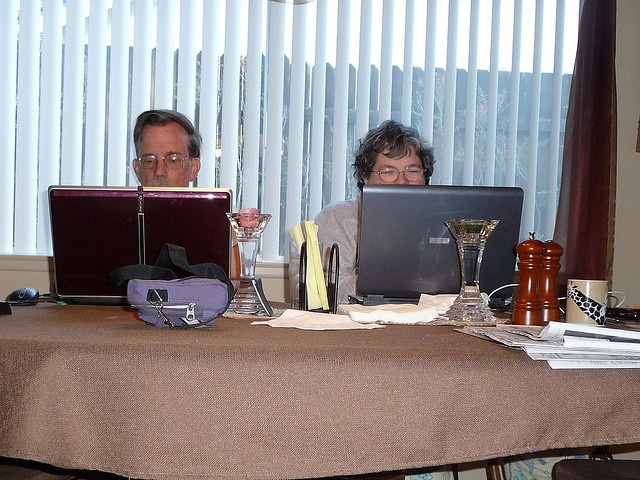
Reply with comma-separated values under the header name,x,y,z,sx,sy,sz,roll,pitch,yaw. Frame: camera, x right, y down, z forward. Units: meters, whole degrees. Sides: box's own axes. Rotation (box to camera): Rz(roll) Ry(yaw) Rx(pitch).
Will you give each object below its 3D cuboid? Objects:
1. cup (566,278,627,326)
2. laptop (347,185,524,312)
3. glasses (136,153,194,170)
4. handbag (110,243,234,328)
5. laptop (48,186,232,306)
name,x,y,z,sx,sy,sz,roll,pitch,yaw
cup,0.727,0.160,1.539,0.136,0.107,0.078,4,1,-26
laptop,0.337,-0.004,1.897,0.439,0.347,0.328,1,3,-2
glasses,-0.762,-0.379,2.837,0.242,0.078,0.071,-1,3,-15
handbag,-0.349,0.125,1.382,0.242,0.151,0.197,6,-4,14
laptop,-0.541,-0.020,1.640,0.426,0.340,0.302,1,6,0
